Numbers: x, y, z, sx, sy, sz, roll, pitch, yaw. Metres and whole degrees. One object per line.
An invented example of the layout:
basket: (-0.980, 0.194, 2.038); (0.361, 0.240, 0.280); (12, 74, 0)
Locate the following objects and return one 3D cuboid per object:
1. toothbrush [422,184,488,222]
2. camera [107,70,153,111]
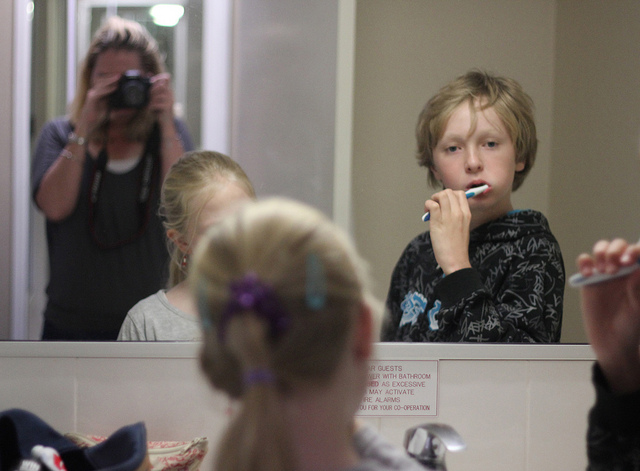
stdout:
toothbrush: (0.253, -0.061, 1.486); (0.120, 0.066, 0.007); (-1, -1, 9)
camera: (-0.351, -0.277, 1.480); (0.077, 0.080, 0.052); (-3, 30, 2)
